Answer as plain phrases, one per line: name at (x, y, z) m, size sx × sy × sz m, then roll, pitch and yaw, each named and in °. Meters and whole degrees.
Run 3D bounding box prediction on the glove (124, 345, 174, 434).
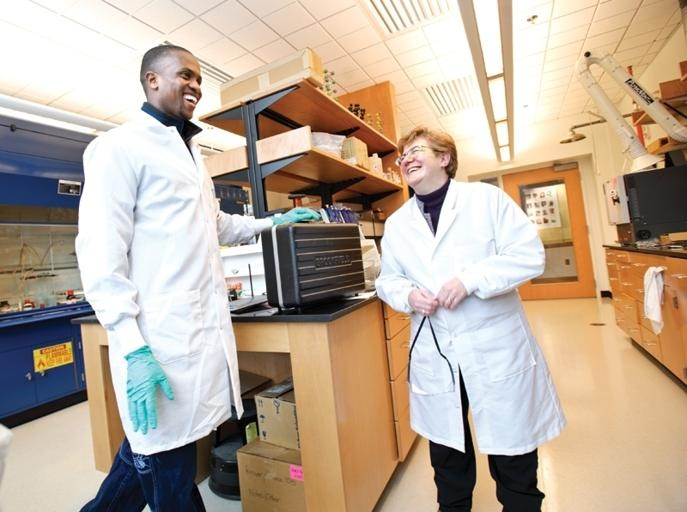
glove at (-0.792, 0.537, 1.727) m, size 0.169 × 0.322 × 0.158 m, roll -12°, pitch 14°, yaw -26°
